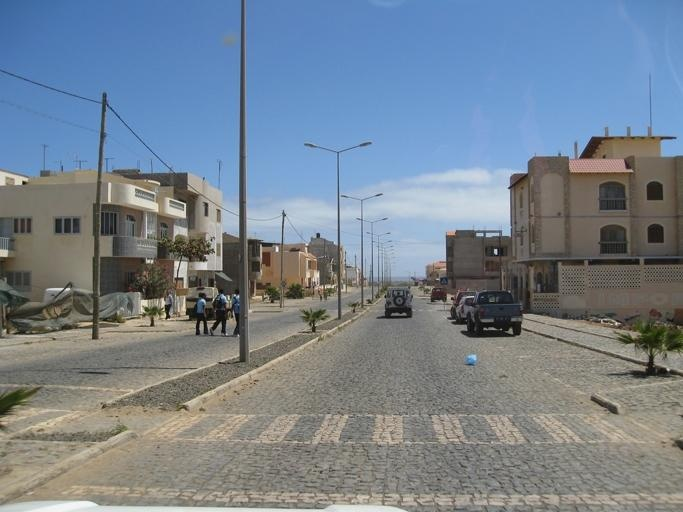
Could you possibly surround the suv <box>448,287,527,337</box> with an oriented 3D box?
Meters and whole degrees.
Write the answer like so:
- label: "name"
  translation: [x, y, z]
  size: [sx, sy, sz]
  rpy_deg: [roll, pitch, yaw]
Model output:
- label: "suv"
  translation: [6.657, 2.430, 30.402]
  size: [3.262, 2.193, 4.193]
  rpy_deg: [-1, 0, 5]
